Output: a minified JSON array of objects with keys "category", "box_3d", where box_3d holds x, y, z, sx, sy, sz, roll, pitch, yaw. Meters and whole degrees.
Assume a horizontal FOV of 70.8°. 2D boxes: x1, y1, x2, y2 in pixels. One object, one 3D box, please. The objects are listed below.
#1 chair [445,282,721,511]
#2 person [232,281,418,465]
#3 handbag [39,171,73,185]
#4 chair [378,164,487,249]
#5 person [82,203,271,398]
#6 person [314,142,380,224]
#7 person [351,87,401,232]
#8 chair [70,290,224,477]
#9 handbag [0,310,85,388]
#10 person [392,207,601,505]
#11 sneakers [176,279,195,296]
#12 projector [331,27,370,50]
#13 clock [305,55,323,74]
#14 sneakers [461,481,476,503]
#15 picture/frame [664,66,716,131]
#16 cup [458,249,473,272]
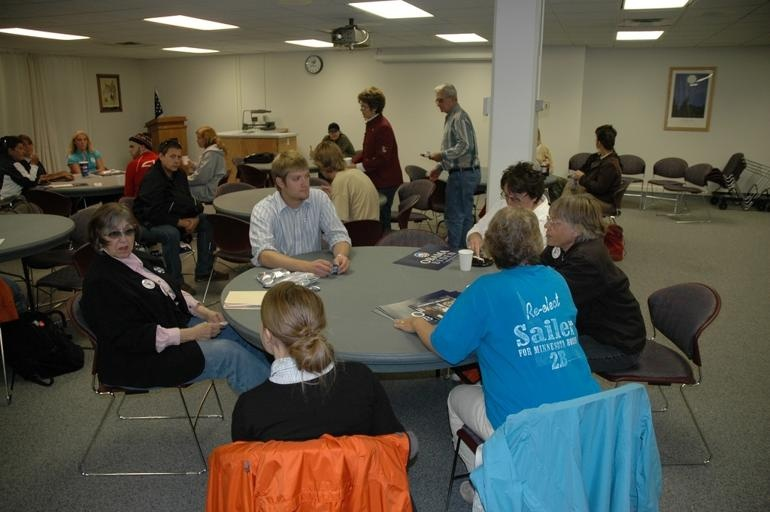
[{"category":"chair","box_3d":[1.425,0.739,4.013,1.758,1.649,1.144,-3,10,-9]},{"category":"person","box_3d":[-0.362,0.536,2.645,0.694,1.010,0.589,-12,34,-14]},{"category":"handbag","box_3d":[-4.421,-1.035,7.254,0.310,0.104,0.308,-5,8,-33]},{"category":"chair","box_3d":[0.772,-0.719,7.059,1.071,1.400,1.027,9,12,36]},{"category":"person","box_3d":[-1.365,0.267,3.399,0.970,1.131,0.534,-2,15,-7]},{"category":"person","box_3d":[-0.361,-0.550,5.508,0.523,1.185,0.660,-4,34,6]},{"category":"person","box_3d":[-0.095,-1.042,7.037,0.734,2.122,0.642,2,21,6]},{"category":"chair","box_3d":[-1.564,0.782,4.042,1.110,1.527,1.068,0,5,-3]},{"category":"handbag","box_3d":[-2.798,0.812,4.491,0.499,0.594,0.574,28,16,24]},{"category":"person","box_3d":[0.735,0.600,3.213,1.203,1.706,0.998,5,11,44]},{"category":"sneakers","box_3d":[-1.877,0.299,5.094,0.170,0.112,0.057,33,63,28]},{"category":"projector","box_3d":[-0.484,-3.092,7.647,0.530,0.302,0.674,-1,16,-5]},{"category":"clock","box_3d":[-1.501,-4.024,11.489,0.340,0.373,0.083,1,6,21]},{"category":"sneakers","box_3d":[0.512,1.439,3.314,0.103,0.048,0.137,0,18,-6]},{"category":"picture/frame","box_3d":[6.032,-3.097,10.600,1.048,1.619,0.062,6,16,18]},{"category":"cup","box_3d":[0.568,0.024,3.742,0.123,0.134,0.129,1,0,0]}]
